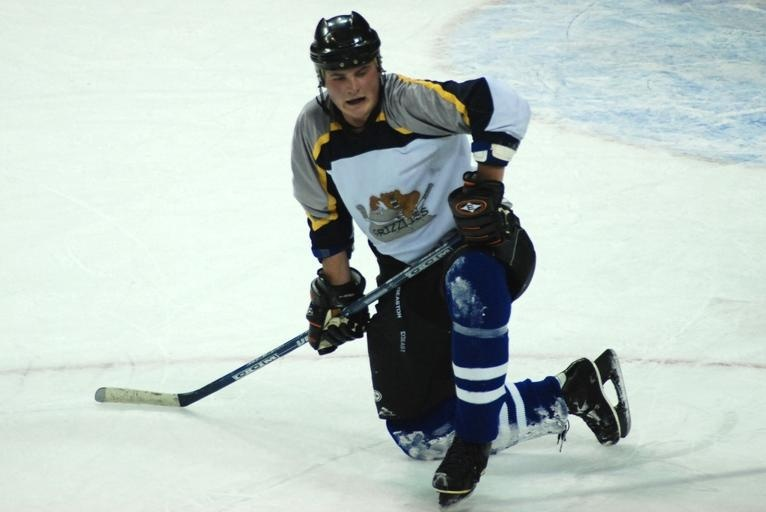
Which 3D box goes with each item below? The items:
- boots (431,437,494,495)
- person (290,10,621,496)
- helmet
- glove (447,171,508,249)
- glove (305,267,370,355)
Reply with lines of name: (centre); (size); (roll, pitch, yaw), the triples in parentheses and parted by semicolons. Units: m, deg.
boots: (0.377, 1.000, 5.092); (0.180, 0.222, 0.282); (10, 20, 28)
person: (0.301, -0.087, 5.324); (1.578, 2.201, 0.872); (15, 24, 38)
helmet: (-0.186, -1.073, 5.308); (0.322, 0.296, 0.329); (-11, 27, 8)
glove: (0.465, -0.228, 5.164); (0.292, 0.361, 0.161); (-14, 18, 11)
glove: (-0.265, 0.295, 5.706); (0.317, 0.437, 0.199); (11, 9, -1)
